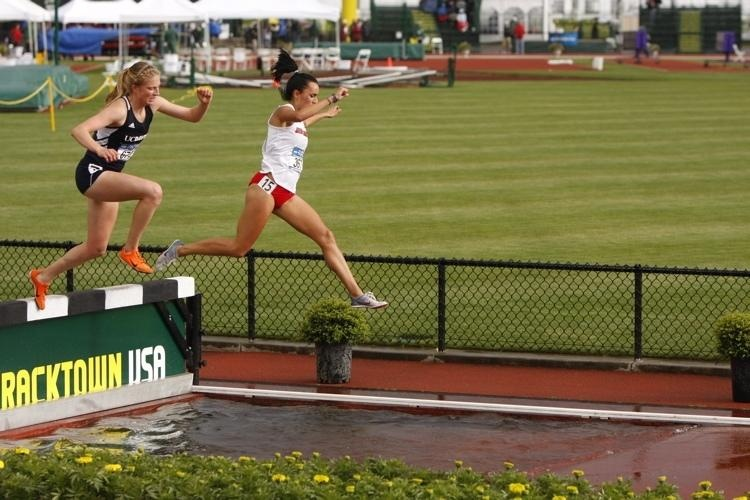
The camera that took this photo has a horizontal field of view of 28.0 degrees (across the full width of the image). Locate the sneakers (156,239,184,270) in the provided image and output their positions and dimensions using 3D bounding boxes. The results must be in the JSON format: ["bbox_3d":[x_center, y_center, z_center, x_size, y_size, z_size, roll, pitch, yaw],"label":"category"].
[{"bbox_3d":[-3.024,0.081,22.105,0.230,0.562,0.191,43,-9,11],"label":"sneakers"}]

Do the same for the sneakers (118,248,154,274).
[{"bbox_3d":[-3.427,0.154,21.501,0.619,0.246,0.203,29,48,-10],"label":"sneakers"}]

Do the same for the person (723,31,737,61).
[{"bbox_3d":[13.435,-7.747,57.161,0.494,1.076,2.263,1,9,13],"label":"person"}]

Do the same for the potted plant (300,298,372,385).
[{"bbox_3d":[-0.549,1.251,20.480,0.881,1.107,0.378,-2,10,-2],"label":"potted plant"}]

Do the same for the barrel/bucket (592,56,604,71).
[{"bbox_3d":[8.572,-7.189,57.938,0.465,0.605,0.764,2,3,-12],"label":"barrel/bucket"}]

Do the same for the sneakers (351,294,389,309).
[{"bbox_3d":[-0.110,0.675,20.037,0.586,0.201,0.180,2,2,-3],"label":"sneakers"}]

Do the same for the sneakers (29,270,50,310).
[{"bbox_3d":[-4.299,0.480,18.994,0.261,0.530,0.186,-17,-7,11],"label":"sneakers"}]
